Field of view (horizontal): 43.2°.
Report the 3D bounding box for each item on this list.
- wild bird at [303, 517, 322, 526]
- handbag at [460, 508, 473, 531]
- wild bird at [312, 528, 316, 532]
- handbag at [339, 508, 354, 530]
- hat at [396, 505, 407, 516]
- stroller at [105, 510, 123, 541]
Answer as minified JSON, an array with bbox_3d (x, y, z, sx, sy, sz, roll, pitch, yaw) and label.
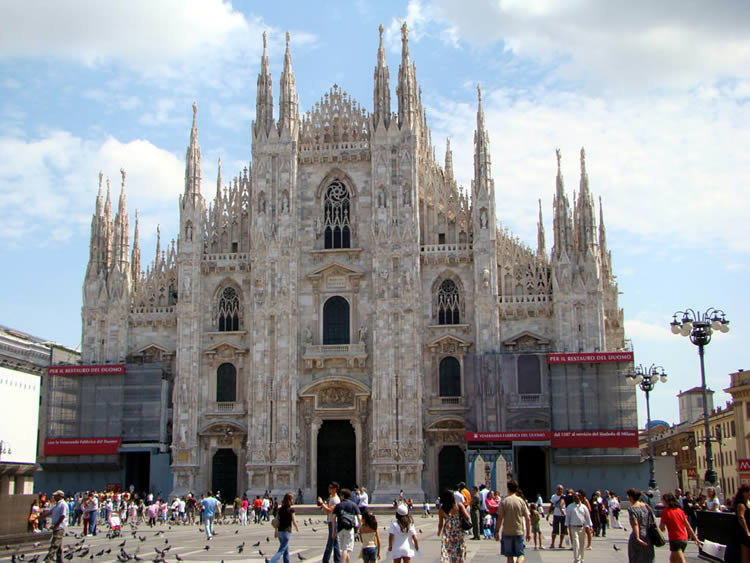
[{"bbox_3d":[-2.905,11.050,43.519,0.612,0.279,0.835,4,-6,-21],"label":"wild bird"},{"bbox_3d":[2.211,5.866,23.280,0.201,0.467,0.437,-6,-16,13],"label":"handbag"},{"bbox_3d":[-2.559,10.291,39.284,0.138,0.082,0.275,7,-18,4],"label":"wild bird"},{"bbox_3d":[-0.781,6.154,24.490,0.453,0.441,0.348,-12,-18,14],"label":"handbag"},{"bbox_3d":[0.603,5.590,23.124,0.251,0.135,0.255,-9,-11,43],"label":"hat"},{"bbox_3d":[-10.360,9.755,38.016,0.725,0.936,1.615,2,-8,-12],"label":"stroller"}]
